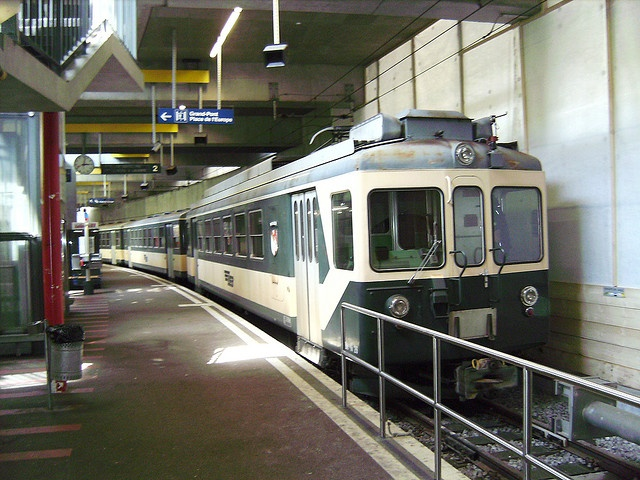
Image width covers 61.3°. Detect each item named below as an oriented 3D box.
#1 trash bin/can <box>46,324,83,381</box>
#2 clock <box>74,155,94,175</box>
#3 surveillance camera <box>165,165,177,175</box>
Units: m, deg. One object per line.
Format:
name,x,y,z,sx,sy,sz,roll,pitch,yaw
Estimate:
trash bin/can,-3.447,1.550,7.342,0.436,0.790,0.278,-4,5,-20
clock,-8.866,-2.880,20.258,0.682,0.700,0.853,-4,4,-21
surveillance camera,-6.641,-3.139,24.052,0.437,0.219,0.668,-1,-1,-4
